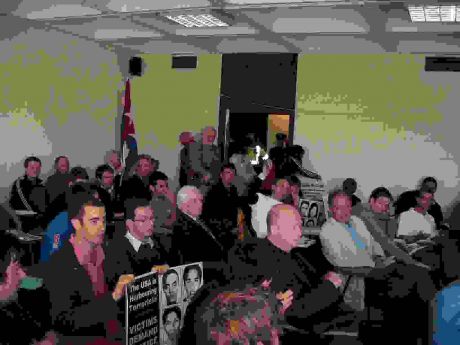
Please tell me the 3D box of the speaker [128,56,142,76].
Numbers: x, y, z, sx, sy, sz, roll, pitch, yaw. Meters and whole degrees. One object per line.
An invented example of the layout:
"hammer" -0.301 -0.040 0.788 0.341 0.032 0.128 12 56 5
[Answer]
"speaker" -2.173 -2.448 10.003 0.298 0.431 0.378 0 3 -12
